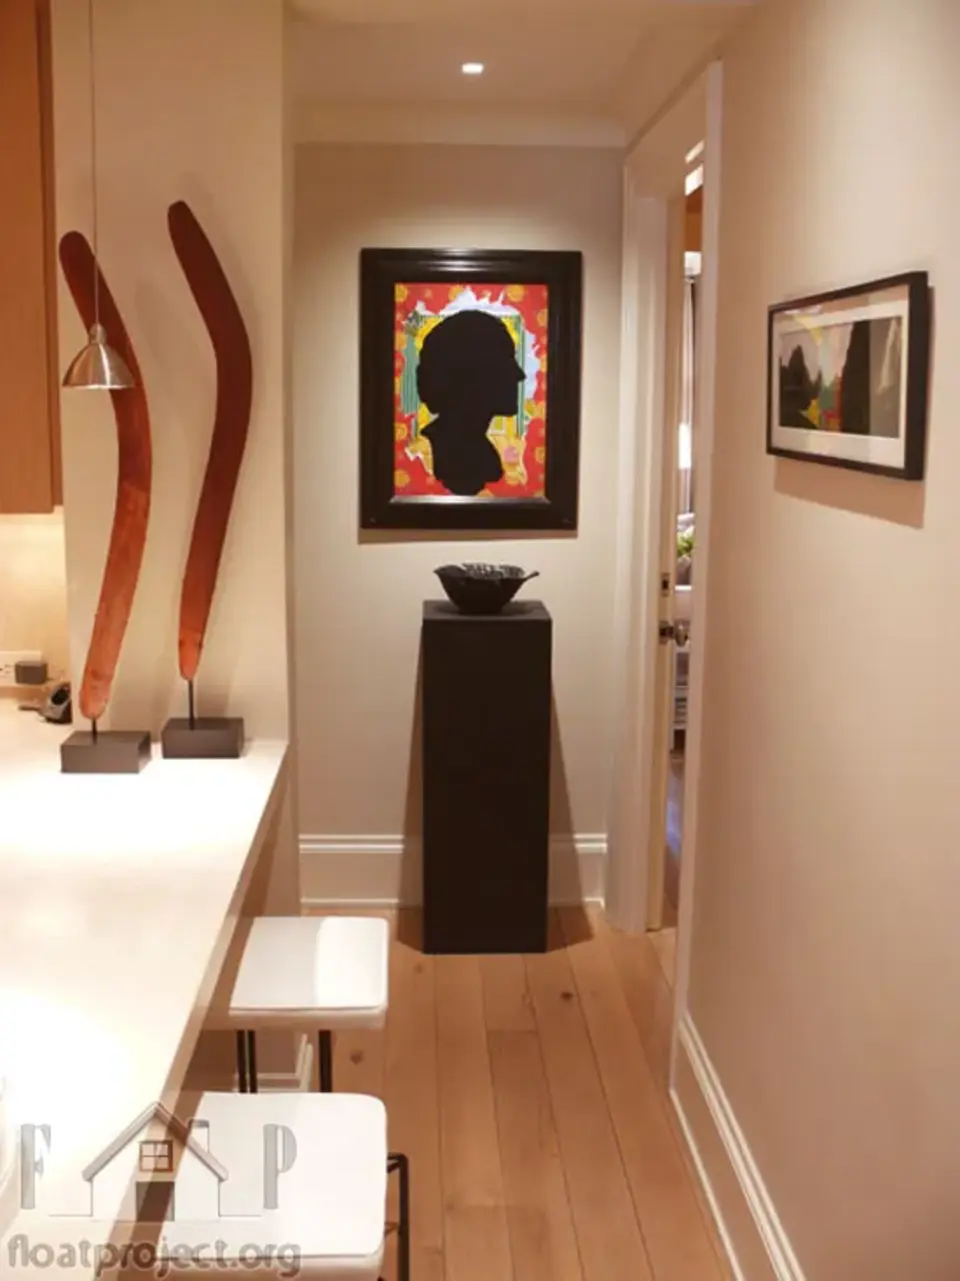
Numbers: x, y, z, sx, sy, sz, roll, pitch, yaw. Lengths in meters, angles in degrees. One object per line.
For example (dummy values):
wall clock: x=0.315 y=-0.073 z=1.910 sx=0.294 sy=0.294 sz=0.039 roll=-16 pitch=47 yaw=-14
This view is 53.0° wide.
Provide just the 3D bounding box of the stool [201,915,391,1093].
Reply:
stool: x=-0.297 y=0.609 z=1.661 sx=0.224 sy=0.391 sz=0.289 roll=1 pitch=11 yaw=-3

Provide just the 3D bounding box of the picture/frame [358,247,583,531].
picture/frame: x=-0.047 y=-0.884 z=3.229 sx=0.521 sy=1.126 sz=0.088 roll=0 pitch=9 yaw=-3

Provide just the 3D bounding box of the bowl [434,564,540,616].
bowl: x=0.012 y=-0.165 z=3.126 sx=0.298 sy=0.140 sz=0.455 roll=0 pitch=9 yaw=-2
